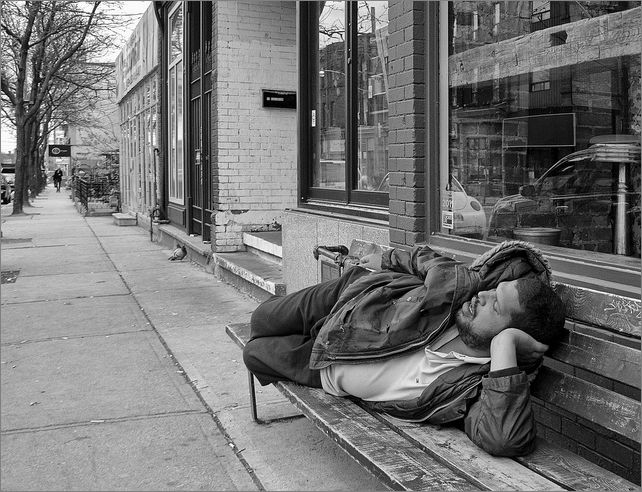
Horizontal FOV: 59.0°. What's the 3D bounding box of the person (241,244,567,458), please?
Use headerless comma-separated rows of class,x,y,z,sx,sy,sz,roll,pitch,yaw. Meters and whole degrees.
person,0.486,0.527,2.913,1.097,0.500,1.141,-12,30,10
